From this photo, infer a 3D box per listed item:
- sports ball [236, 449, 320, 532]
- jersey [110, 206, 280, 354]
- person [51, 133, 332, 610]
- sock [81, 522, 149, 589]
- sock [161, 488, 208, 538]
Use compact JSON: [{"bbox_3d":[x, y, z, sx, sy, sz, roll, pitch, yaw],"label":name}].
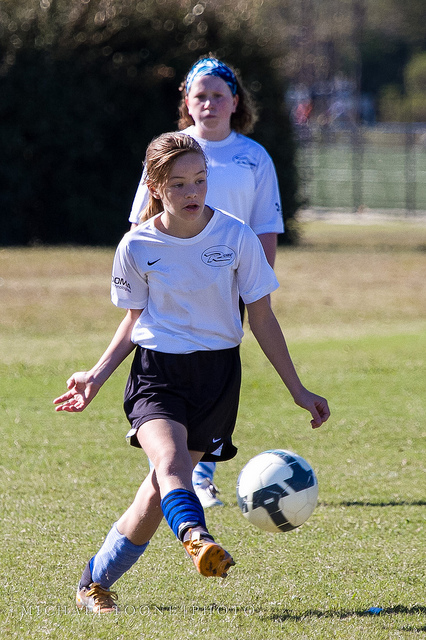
[{"bbox_3d":[0.221,0.584,3.235,0.294,0.290,0.272,-6,9,1],"label":"sports ball"},{"bbox_3d":[-0.031,-0.093,3.170,0.452,0.496,0.498,-6,21,-23],"label":"jersey"},{"bbox_3d":[-0.015,-0.025,2.877,0.788,1.093,0.799,-5,10,-20],"label":"person"},{"bbox_3d":[-0.328,0.771,3.002,0.116,0.145,0.322,36,39,-7],"label":"sock"},{"bbox_3d":[-0.082,0.521,2.546,0.105,0.105,0.165,-2,9,-7],"label":"sock"}]
